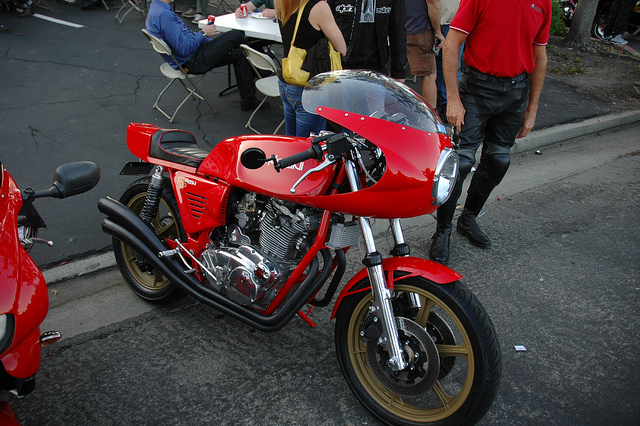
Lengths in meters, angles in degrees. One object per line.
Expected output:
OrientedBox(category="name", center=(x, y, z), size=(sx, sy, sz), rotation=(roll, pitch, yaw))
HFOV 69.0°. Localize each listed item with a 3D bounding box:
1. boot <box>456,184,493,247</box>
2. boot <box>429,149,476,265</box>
OrientedBox(category="boot", center=(1.820, 0.004, 5.289), size=(0.239, 0.708, 0.550), rotation=(-8, 28, -19))
OrientedBox(category="boot", center=(1.380, -0.002, 5.022), size=(0.516, 1.299, 0.504), rotation=(1, 1, -20))
